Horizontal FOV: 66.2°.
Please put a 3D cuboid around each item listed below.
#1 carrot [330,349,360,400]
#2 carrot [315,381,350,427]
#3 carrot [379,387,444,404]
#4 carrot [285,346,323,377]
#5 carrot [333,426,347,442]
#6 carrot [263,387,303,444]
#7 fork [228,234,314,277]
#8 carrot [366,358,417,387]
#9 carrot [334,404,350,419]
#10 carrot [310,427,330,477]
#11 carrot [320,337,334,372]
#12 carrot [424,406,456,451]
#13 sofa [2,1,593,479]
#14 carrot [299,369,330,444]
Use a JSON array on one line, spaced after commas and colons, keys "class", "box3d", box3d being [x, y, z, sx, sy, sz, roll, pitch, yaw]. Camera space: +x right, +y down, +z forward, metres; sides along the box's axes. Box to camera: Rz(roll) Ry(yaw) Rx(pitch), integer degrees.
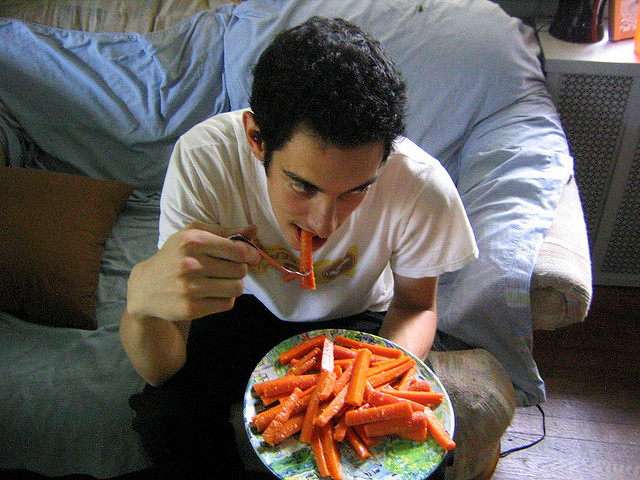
[{"class": "carrot", "box3d": [0.080, 0.408, 1.527, 0.041, 0.027, 0.174, 17, 45, 16]}, {"class": "carrot", "box3d": [0.038, 0.481, 1.458, 0.038, 0.026, 0.158, 22, 39, 15]}, {"class": "carrot", "box3d": [0.285, 0.454, 1.429, 0.177, 0.031, 0.046, 5, 28, -3]}, {"class": "carrot", "box3d": [-0.055, 0.364, 1.506, 0.162, 0.038, 0.052, -21, 86, -35]}, {"class": "carrot", "box3d": [0.056, 0.546, 1.388, 0.035, 0.034, 0.035, 35, 18, 4]}, {"class": "carrot", "box3d": [-0.099, 0.491, 1.407, 0.047, 0.031, 0.178, 37, 49, 1]}, {"class": "fork", "box3d": [-0.157, 0.045, 1.570, 0.214, 0.036, 0.033, 36, 14, -27]}, {"class": "carrot", "box3d": [0.214, 0.404, 1.486, 0.190, 0.044, 0.051, -15, 90, -23]}, {"class": "carrot", "box3d": [0.066, 0.501, 1.441, 0.015, 0.040, 0.039, 31, 82, 11]}, {"class": "carrot", "box3d": [-0.003, 0.582, 1.348, 0.021, 0.029, 0.119, 8, 32, -11]}, {"class": "carrot", "box3d": [0.021, 0.359, 1.521, 0.030, 0.023, 0.099, 12, 43, -6]}, {"class": "carrot", "box3d": [0.324, 0.518, 1.371, 0.044, 0.044, 0.131, -16, 47, -15]}, {"class": "sofa", "box3d": [0.457, -0.019, 3.001, 2.427, 0.949, 2.453, 1, 87, 1]}, {"class": "carrot", "box3d": [-0.013, 0.468, 1.412, 0.048, 0.037, 0.210, 14, 63, 6]}]
